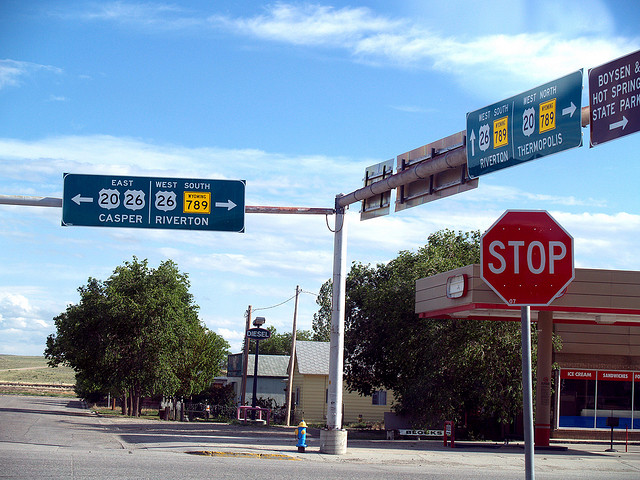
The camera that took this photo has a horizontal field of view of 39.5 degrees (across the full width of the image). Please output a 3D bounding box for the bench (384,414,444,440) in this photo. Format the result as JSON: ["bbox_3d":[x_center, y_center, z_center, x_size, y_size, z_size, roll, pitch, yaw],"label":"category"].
[{"bbox_3d":[4.380,9.218,42.222,3.658,1.683,0.903,-6,-10,20],"label":"bench"}]

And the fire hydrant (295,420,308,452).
[{"bbox_3d":[-0.717,7.548,34.121,0.326,1.190,0.730,3,-11,-3],"label":"fire hydrant"}]
